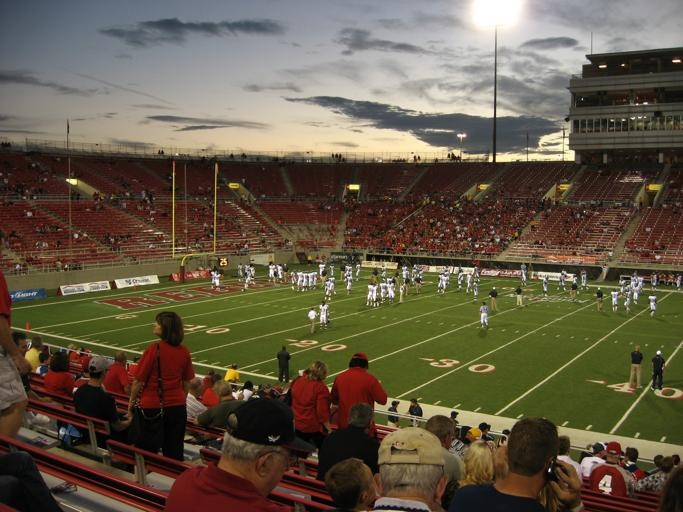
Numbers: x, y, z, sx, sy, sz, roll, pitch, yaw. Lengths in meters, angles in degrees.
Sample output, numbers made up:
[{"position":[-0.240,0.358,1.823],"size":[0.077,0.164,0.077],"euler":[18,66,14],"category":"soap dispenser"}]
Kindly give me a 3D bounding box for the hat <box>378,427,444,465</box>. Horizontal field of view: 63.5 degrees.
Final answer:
[{"position":[0.416,1.145,3.331],"size":[0.373,0.220,0.199],"euler":[3,1,0],"category":"hat"}]

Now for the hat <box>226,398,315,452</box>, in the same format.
[{"position":[-0.406,0.940,3.119],"size":[0.419,0.170,0.248],"euler":[15,4,-11],"category":"hat"}]

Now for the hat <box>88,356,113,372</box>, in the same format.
[{"position":[-2.703,1.194,6.189],"size":[0.184,0.126,0.225],"euler":[6,23,5],"category":"hat"}]
